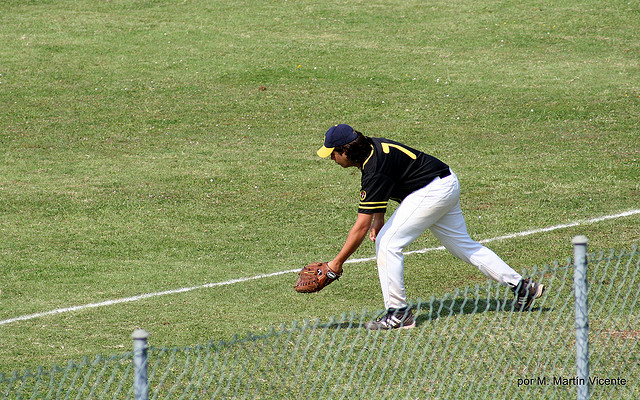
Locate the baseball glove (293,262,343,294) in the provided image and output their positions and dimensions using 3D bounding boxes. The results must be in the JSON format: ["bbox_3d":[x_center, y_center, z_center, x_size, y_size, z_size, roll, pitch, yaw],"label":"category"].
[{"bbox_3d":[-0.039,1.411,21.093,0.787,0.559,0.324,-3,16,0],"label":"baseball glove"}]
